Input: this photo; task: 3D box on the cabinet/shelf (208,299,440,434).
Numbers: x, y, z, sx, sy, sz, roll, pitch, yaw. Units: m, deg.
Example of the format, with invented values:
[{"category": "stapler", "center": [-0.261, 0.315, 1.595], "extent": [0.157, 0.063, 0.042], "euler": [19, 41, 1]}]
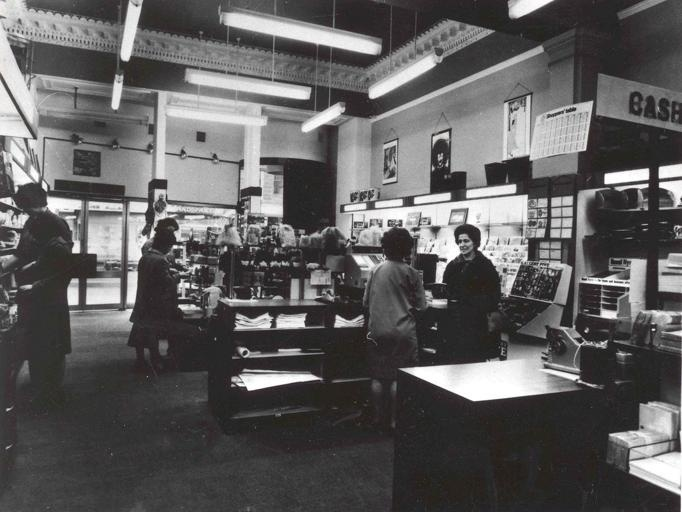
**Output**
[{"category": "cabinet/shelf", "center": [-0.531, 1.354, 6.142], "extent": [1.910, 1.565, 1.023], "euler": [1, -3, -19]}]

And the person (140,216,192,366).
[{"category": "person", "center": [-2.028, 0.442, 6.800], "extent": [0.530, 1.766, 0.549], "euler": [0, 8, -20]}]

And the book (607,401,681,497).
[{"category": "book", "center": [1.970, 1.232, 3.806], "extent": [0.470, 0.320, 0.477], "euler": [-5, 5, -30]}]

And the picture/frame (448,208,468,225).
[{"category": "picture/frame", "center": [1.817, -0.617, 9.238], "extent": [0.181, 0.285, 0.460], "euler": [-1, 9, -26]}]

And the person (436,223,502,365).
[{"category": "person", "center": [1.295, 0.424, 6.047], "extent": [0.630, 1.443, 0.667], "euler": [7, 9, 29]}]
